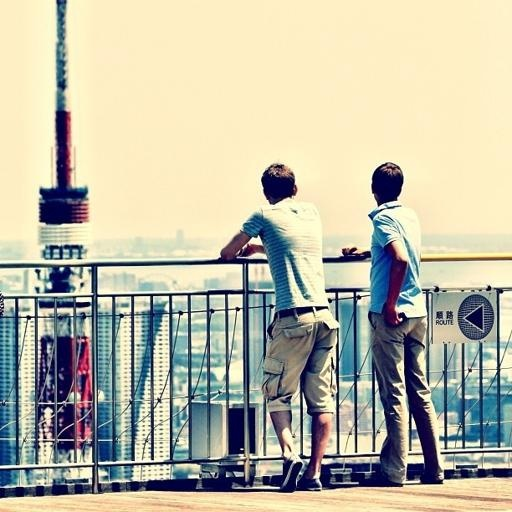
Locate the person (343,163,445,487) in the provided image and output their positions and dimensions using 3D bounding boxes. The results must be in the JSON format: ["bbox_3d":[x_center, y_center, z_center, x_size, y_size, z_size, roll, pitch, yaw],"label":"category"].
[{"bbox_3d":[0.889,0.524,9.699,0.381,1.690,0.559,-3,-8,16],"label":"person"}]

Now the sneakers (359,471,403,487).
[{"bbox_3d":[0.773,1.345,9.807,0.252,0.127,0.099,-2,-5,20],"label":"sneakers"}]

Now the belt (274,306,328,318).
[{"bbox_3d":[0.268,0.333,9.545,0.315,0.071,0.116,-2,-9,6],"label":"belt"}]

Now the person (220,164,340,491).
[{"bbox_3d":[0.185,0.418,9.637,0.623,1.949,0.345,0,-8,-2],"label":"person"}]

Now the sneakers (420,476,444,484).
[{"bbox_3d":[1.086,1.367,9.790,0.140,0.072,0.052,-1,4,6],"label":"sneakers"}]

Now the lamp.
[{"bbox_3d":[-0.239,1.178,10.220,0.401,0.400,0.454,-5,-28,-8],"label":"lamp"}]

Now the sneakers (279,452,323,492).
[{"bbox_3d":[0.265,1.298,9.580,0.247,0.199,0.244,-2,-9,5],"label":"sneakers"}]
